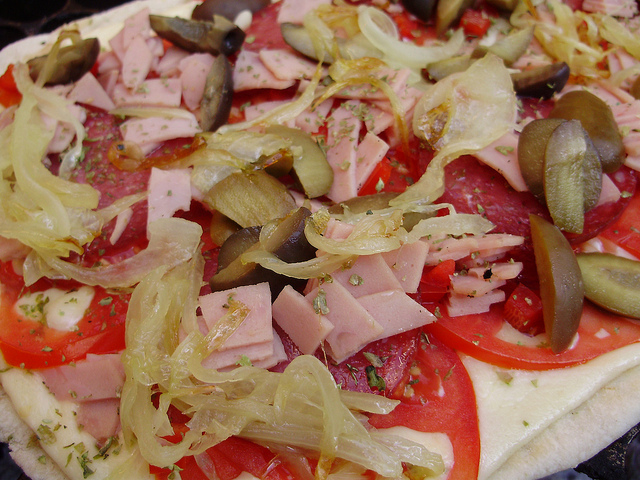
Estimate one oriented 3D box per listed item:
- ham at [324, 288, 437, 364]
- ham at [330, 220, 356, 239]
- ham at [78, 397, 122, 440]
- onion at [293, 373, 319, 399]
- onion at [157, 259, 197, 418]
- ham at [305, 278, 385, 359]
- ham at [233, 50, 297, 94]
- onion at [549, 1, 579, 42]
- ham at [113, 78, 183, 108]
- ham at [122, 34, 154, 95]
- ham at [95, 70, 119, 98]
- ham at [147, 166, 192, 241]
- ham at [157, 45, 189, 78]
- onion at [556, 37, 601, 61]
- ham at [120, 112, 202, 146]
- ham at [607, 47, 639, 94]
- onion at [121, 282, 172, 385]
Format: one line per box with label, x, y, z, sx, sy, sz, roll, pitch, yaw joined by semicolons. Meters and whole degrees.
ham;0.257;0.342;3.212;0.433;0.096;0.311;-18;74;9
ham;0.111;-0.049;3.238;0.075;0.081;0.071;1;91;-1
ham;-0.988;0.799;3.216;0.201;0.057;0.170;-5;79;0
onion;-0.052;0.623;3.089;0.096;0.032;0.099;-41;94;14
onion;-0.597;0.429;3.186;0.164;0.160;0.653;-3;69;15
ham;0.097;0.338;3.178;0.238;0.065;0.340;-37;81;-6
ham;-0.329;-0.863;3.668;0.230;0.258;0.071;13;90;-19
onion;1.365;-1.249;4.074;0.075;0.092;0.361;-25;45;19
ham;-0.878;-0.739;3.652;0.365;0.097;0.161;1;79;1
ham;-0.939;-0.922;3.700;0.197;0.076;0.349;-3;80;-7
ham;-1.081;-0.809;3.748;0.123;0.033;0.143;-36;73;-2
ham;-0.709;-0.194;3.412;0.225;0.099;0.446;-2;70;-11
ham;-0.773;-0.945;3.779;0.120;0.038;0.182;0;66;-46
onion;1.411;-1.047;3.953;0.209;0.054;0.034;29;78;10
ham;-0.791;-0.550;3.536;0.320;0.087;0.200;-13;53;3
ham;1.657;-0.932;3.929;0.136;0.138;0.316;5;79;3
onion;-0.735;0.417;3.094;0.157;0.110;0.441;7;71;-11
